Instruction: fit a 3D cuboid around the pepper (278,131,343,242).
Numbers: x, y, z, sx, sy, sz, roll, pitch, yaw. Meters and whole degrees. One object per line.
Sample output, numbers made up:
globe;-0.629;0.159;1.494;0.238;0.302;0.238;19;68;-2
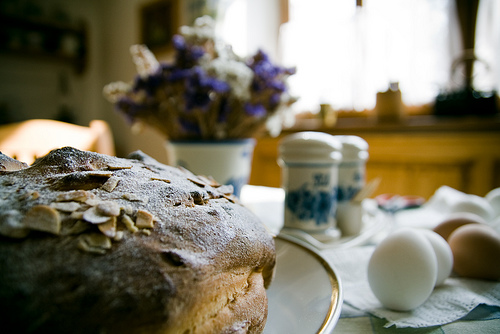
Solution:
pepper;0.174;0.060;1.285;0.175;0.303;0.088;1;10;3

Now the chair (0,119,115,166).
chair;-0.823;-0.121;1.874;0.361;0.260;0.392;2;2;7

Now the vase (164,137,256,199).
vase;-0.116;0.036;1.412;0.193;0.190;0.226;1;-5;-11

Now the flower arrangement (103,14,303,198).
flower arrangement;-0.133;-0.137;1.699;0.552;0.698;0.624;-1;0;10
